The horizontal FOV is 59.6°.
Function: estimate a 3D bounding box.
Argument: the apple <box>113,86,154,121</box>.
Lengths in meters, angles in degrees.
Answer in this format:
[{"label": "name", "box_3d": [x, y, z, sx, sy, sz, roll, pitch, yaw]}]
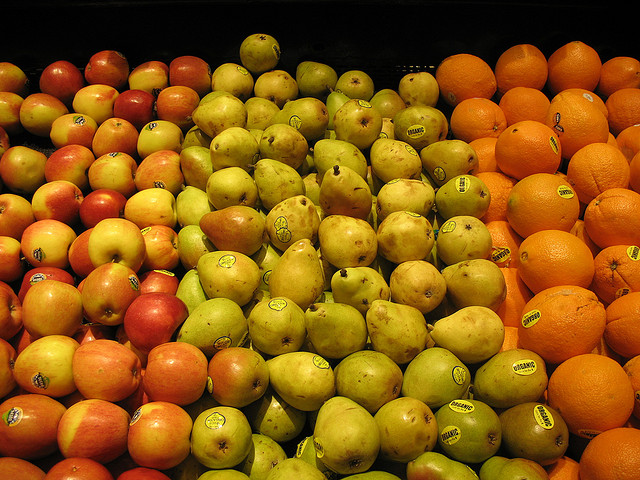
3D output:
[{"label": "apple", "box_3d": [-1.168, -0.848, 3.497, 0.171, 0.147, 0.151, 14, 50, 7]}]

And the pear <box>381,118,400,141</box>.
[{"label": "pear", "box_3d": [0.422, -0.681, 3.403, 0.115, 0.122, 0.154, -1, 81, 2]}]

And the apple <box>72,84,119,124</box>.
[{"label": "apple", "box_3d": [-1.412, -0.871, 3.631, 0.259, 0.258, 0.245, 3, 42, 5]}]

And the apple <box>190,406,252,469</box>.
[{"label": "apple", "box_3d": [-0.449, 0.896, 2.569, 0.258, 0.263, 0.262, 9, 90, -13]}]

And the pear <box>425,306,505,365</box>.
[{"label": "pear", "box_3d": [0.734, 0.475, 2.843, 0.335, 0.275, 0.263, -4, 34, -6]}]

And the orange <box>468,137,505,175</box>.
[{"label": "orange", "box_3d": [0.981, -0.486, 3.310, 0.184, 0.200, 0.207, 0, 94, -14]}]

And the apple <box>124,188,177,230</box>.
[{"label": "apple", "box_3d": [-0.966, -0.176, 3.226, 0.262, 0.240, 0.263, 3, 93, 3]}]

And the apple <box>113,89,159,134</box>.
[{"label": "apple", "box_3d": [-1.150, -0.824, 3.609, 0.250, 0.269, 0.279, 0, 81, 7]}]

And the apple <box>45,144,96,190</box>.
[{"label": "apple", "box_3d": [-1.475, -0.436, 3.363, 0.265, 0.271, 0.276, 12, 95, -10]}]

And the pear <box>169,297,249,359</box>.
[{"label": "pear", "box_3d": [-0.527, 0.426, 2.753, 0.339, 0.250, 0.269, -19, 102, -6]}]

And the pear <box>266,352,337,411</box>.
[{"label": "pear", "box_3d": [-0.088, 0.664, 2.749, 0.331, 0.213, 0.231, 25, 101, 23]}]

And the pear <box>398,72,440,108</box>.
[{"label": "pear", "box_3d": [0.665, -0.983, 3.636, 0.235, 0.242, 0.263, -10, 96, -34]}]

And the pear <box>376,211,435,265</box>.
[{"label": "pear", "box_3d": [0.436, -0.013, 2.896, 0.266, 0.272, 0.279, -8, 35, 1]}]

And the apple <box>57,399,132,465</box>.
[{"label": "apple", "box_3d": [-1.038, 0.857, 2.656, 0.335, 0.290, 0.308, -3, 101, 1]}]

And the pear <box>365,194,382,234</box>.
[{"label": "pear", "box_3d": [0.266, -0.126, 3.083, 0.147, 0.155, 0.194, 0, 93, 3]}]

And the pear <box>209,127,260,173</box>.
[{"label": "pear", "box_3d": [-0.468, -0.505, 3.177, 0.259, 0.197, 0.208, -31, 90, -46]}]

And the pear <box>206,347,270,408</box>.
[{"label": "pear", "box_3d": [-0.380, 0.643, 2.747, 0.272, 0.274, 0.284, 9, 87, 24]}]

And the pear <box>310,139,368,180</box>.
[{"label": "pear", "box_3d": [0.113, -0.445, 3.163, 0.268, 0.190, 0.183, 24, 105, 22]}]

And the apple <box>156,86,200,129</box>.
[{"label": "apple", "box_3d": [-0.892, -0.851, 3.572, 0.250, 0.319, 0.263, -11, 27, -5]}]

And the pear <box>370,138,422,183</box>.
[{"label": "pear", "box_3d": [0.414, -0.434, 3.157, 0.186, 0.196, 0.287, -14, 40, -22]}]

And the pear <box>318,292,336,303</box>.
[{"label": "pear", "box_3d": [0.037, 0.303, 2.915, 0.054, 0.054, 0.067, -9, 79, 40]}]

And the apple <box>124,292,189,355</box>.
[{"label": "apple", "box_3d": [-0.824, 0.435, 2.853, 0.299, 0.315, 0.340, 3, 79, -23]}]

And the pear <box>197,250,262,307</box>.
[{"label": "pear", "box_3d": [-0.467, 0.188, 2.964, 0.308, 0.222, 0.242, 41, 87, 2]}]

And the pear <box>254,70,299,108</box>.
[{"label": "pear", "box_3d": [-0.301, -0.960, 3.692, 0.270, 0.288, 0.319, 1, 33, 1]}]

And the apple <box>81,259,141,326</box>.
[{"label": "apple", "box_3d": [-1.098, 0.271, 2.889, 0.228, 0.243, 0.283, 4, 70, 17]}]

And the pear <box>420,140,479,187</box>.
[{"label": "pear", "box_3d": [0.712, -0.456, 3.228, 0.312, 0.250, 0.234, 27, 53, 29]}]

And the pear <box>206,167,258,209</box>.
[{"label": "pear", "box_3d": [-0.499, -0.253, 3.131, 0.223, 0.239, 0.281, -27, 89, -18]}]

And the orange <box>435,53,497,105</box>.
[{"label": "orange", "box_3d": [0.958, -1.024, 3.674, 0.378, 0.308, 0.299, 36, 102, 15]}]

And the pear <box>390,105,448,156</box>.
[{"label": "pear", "box_3d": [0.582, -0.659, 3.263, 0.277, 0.271, 0.284, -5, 89, 1]}]

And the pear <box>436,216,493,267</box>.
[{"label": "pear", "box_3d": [0.790, -0.034, 3.024, 0.242, 0.264, 0.280, 10, 102, 20]}]

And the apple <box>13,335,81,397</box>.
[{"label": "apple", "box_3d": [-1.311, 0.570, 2.778, 0.298, 0.277, 0.282, 7, 89, 10]}]

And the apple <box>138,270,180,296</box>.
[{"label": "apple", "box_3d": [-0.875, 0.234, 3.001, 0.140, 0.145, 0.146, 5, 93, 3]}]

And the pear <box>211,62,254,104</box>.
[{"label": "pear", "box_3d": [-0.560, -1.033, 3.622, 0.237, 0.235, 0.250, 13, 90, -30]}]

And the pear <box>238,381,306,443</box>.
[{"label": "pear", "box_3d": [-0.226, 0.845, 2.875, 0.274, 0.278, 0.347, -9, 95, 7]}]
